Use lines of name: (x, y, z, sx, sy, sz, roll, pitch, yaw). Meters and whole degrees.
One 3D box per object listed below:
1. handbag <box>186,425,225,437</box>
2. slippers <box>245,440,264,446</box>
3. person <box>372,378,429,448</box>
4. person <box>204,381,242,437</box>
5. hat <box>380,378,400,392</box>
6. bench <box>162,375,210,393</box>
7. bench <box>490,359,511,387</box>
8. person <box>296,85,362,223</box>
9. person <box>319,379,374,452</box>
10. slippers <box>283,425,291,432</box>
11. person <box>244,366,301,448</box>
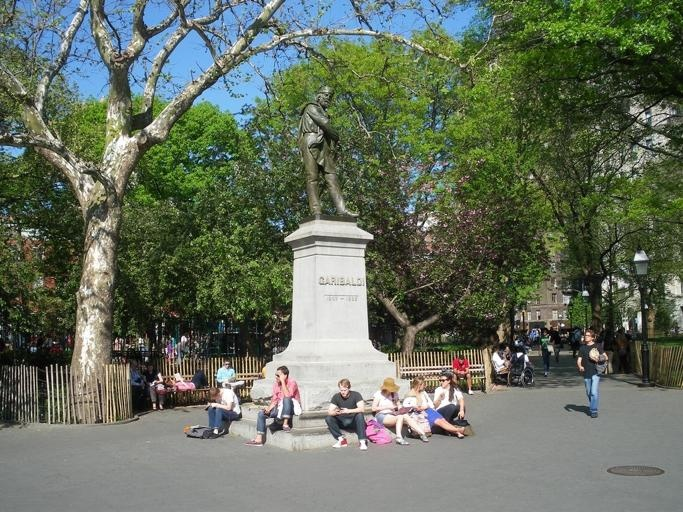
handbag: (-3.437, 4.341, 17.042, 0.569, 0.145, 0.378, 1, -8, 16)
slippers: (-2.021, 4.333, 16.019, 0.389, 0.162, 0.154, 4, -15, 10)
person: (1.302, 3.586, 16.138, 0.812, 1.306, 1.720, -2, 1, -25)
person: (-2.973, 3.850, 17.515, 0.877, 1.158, 0.568, -1, 3, -31)
hat: (1.133, 3.087, 16.589, 0.328, 0.216, 0.385, -3, -6, -8)
bench: (-5.274, 4.332, 23.639, 1.286, 0.704, 0.669, -14, 9, -24)
bench: (6.242, 4.585, 27.180, 0.768, 1.088, 0.869, 0, -2, -3)
person: (-0.550, -2.783, 19.031, 1.190, 3.699, 0.779, -1, -11, -4)
person: (0.099, 3.549, 15.716, 0.868, 1.456, 1.424, -1, -2, -13)
slippers: (-1.263, 3.913, 15.922, 0.208, 0.214, 0.100, 5, -9, -11)
person: (-1.487, 3.462, 16.108, 1.044, 1.782, 0.415, -1, -11, -7)
